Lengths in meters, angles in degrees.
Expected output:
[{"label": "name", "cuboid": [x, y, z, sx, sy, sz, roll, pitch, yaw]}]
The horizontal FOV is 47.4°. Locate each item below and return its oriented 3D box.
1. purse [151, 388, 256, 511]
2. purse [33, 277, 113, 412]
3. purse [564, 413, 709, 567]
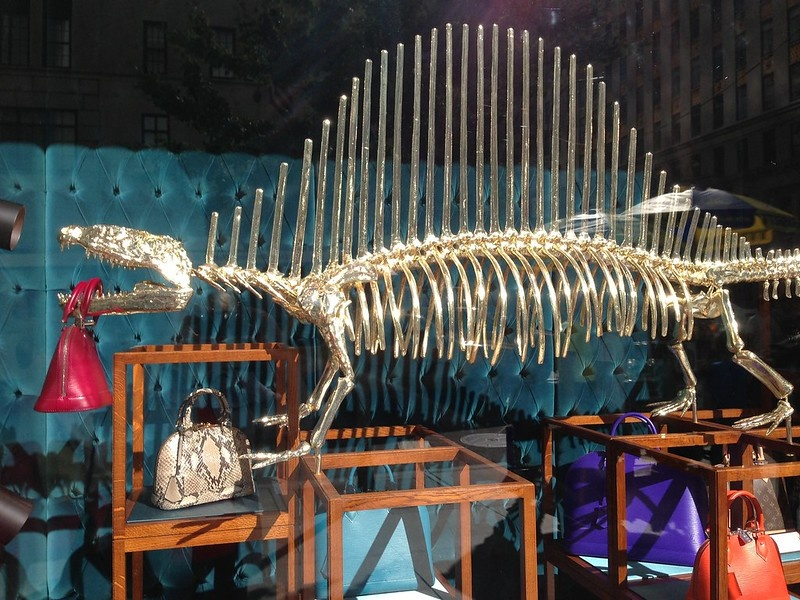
[{"label": "purse", "cuboid": [-0.859, 0.659, 3.964, 0.402, 0.487, 0.153, 2, -8, -29]}, {"label": "purse", "cuboid": [-1.336, 0.183, 3.820, 0.299, 0.553, 0.161, 4, -8, -25]}, {"label": "purse", "cuboid": [1.085, 0.888, 4.170, 0.623, 0.651, 0.252, 1, 0, 28]}]
